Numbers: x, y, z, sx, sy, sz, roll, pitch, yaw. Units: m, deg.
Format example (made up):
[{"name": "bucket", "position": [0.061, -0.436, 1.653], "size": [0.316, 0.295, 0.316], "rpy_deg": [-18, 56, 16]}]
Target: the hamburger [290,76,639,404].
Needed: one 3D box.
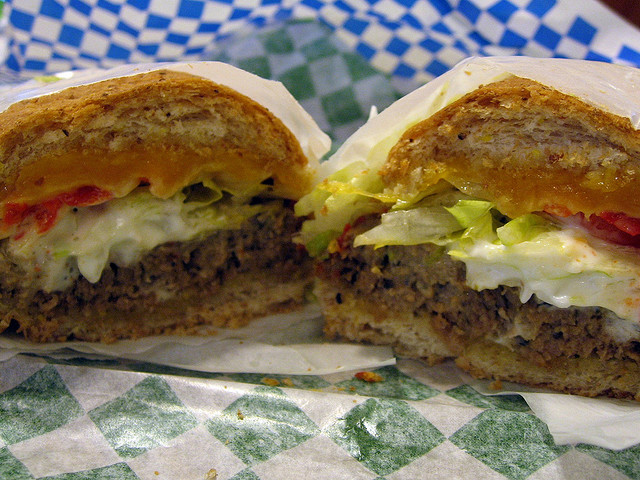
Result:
[{"name": "hamburger", "position": [0.405, -0.056, 2.654], "size": [1.462, 0.986, 0.975], "rpy_deg": [-1, 9, 0]}]
